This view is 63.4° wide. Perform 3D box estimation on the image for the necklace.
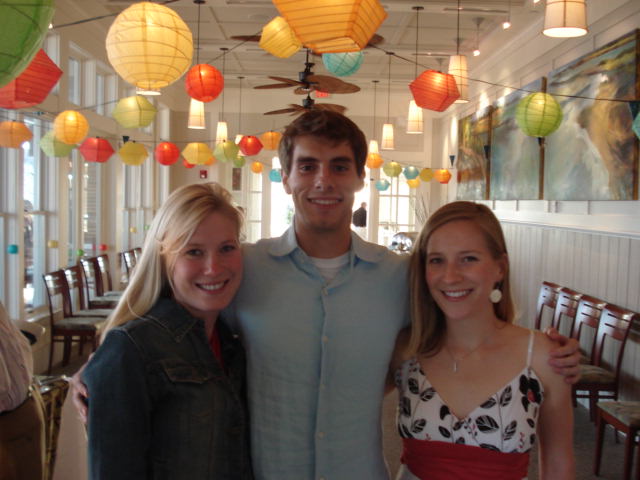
[{"bbox_3d":[0.668,0.465,2.218,0.297,0.240,0.090,-5,-18,3],"label":"necklace"}]
